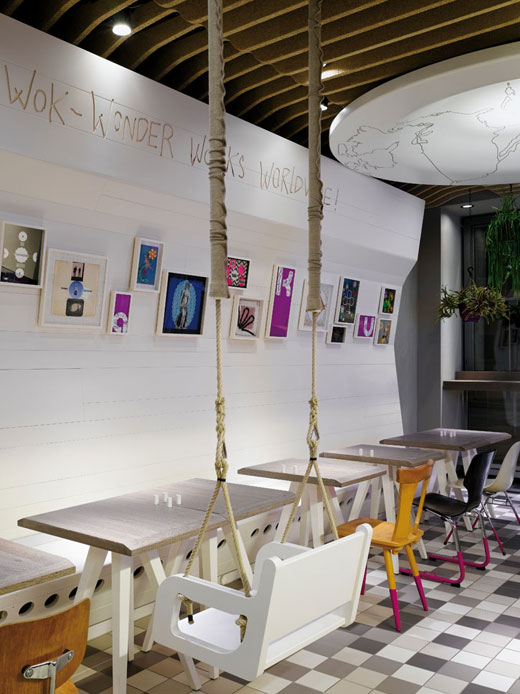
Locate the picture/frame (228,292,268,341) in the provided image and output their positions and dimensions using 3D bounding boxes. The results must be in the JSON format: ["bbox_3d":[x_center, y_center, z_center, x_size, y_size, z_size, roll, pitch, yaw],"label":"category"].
[{"bbox_3d":[-0.121,-0.265,3.939,0.045,0.340,0.413,2,-1,33],"label":"picture/frame"}]

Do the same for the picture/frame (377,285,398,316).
[{"bbox_3d":[1.502,-0.567,5.645,0.058,0.435,0.377,2,0,40],"label":"picture/frame"}]

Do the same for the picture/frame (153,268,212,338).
[{"bbox_3d":[-0.564,-0.316,3.284,0.046,0.432,0.452,4,-8,34],"label":"picture/frame"}]

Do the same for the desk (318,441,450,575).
[{"bbox_3d":[1.015,1.271,4.153,1.041,1.024,1.053,2,3,44],"label":"desk"}]

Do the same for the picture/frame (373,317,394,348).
[{"bbox_3d":[1.446,-0.197,5.621,0.058,0.334,0.366,-1,-2,35],"label":"picture/frame"}]

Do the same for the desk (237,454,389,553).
[{"bbox_3d":[0.403,1.018,3.588,0.908,0.841,0.920,-5,-6,36],"label":"desk"}]

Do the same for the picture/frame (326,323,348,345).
[{"bbox_3d":[0.792,-0.149,4.980,0.071,0.187,0.225,4,1,37],"label":"picture/frame"}]

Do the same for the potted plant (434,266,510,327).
[{"bbox_3d":[2.412,-0.491,5.382,0.821,0.424,0.828,1,8,20],"label":"potted plant"}]

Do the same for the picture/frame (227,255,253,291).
[{"bbox_3d":[-0.176,-0.597,3.787,0.092,0.270,0.352,-2,-7,28],"label":"picture/frame"}]

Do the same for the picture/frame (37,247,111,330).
[{"bbox_3d":[-1.067,-0.338,2.660,0.068,0.541,0.473,3,-2,36],"label":"picture/frame"}]
